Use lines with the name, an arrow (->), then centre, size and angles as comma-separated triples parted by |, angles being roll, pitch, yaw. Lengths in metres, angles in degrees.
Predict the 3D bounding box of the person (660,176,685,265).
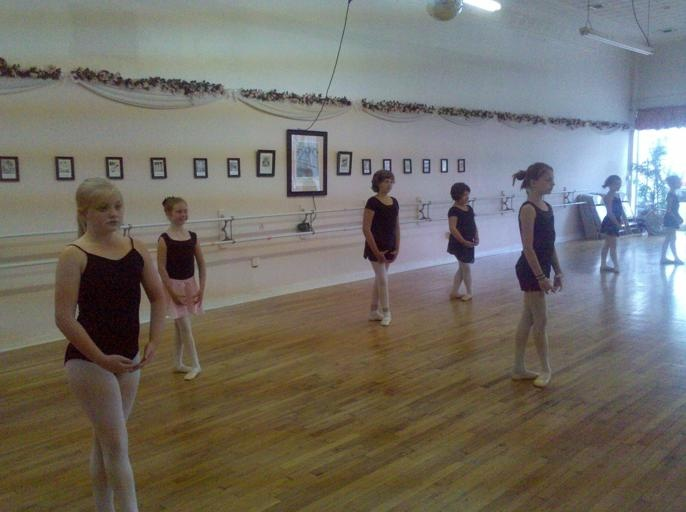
person -> 6.280, -0.677, 8.932 | 0.386, 1.694, 1.562 | 6, 13, 34

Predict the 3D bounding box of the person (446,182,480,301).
person -> 1.744, -0.193, 6.896 | 0.411, 1.718, 0.473 | 1, 11, 15

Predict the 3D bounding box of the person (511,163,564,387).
person -> 1.774, 0.183, 4.323 | 0.427, 2.027, 0.562 | 3, 11, 21

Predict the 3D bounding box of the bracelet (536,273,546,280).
bracelet -> 1.732, 0.173, 4.106 | 0.119, 0.055, 0.049 | -10, 13, -39

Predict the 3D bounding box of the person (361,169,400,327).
person -> 0.484, -0.078, 5.956 | 0.437, 1.945, 0.439 | -1, 10, 2
